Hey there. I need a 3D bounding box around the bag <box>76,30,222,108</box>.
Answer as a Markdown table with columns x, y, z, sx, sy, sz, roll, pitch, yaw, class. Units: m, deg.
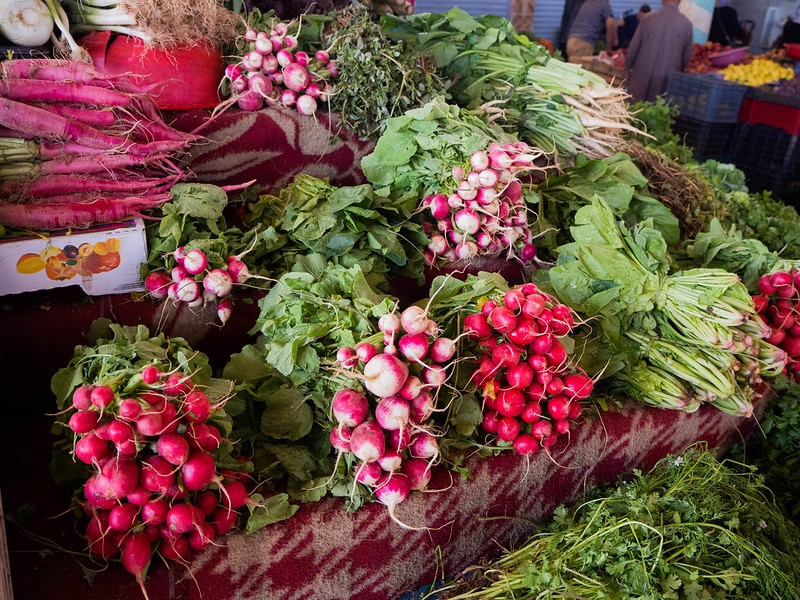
| x | y | z | sx | sy | sz | roll | pitch | yaw | class |
| --- | --- | --- | --- | --- | --- | --- | --- | --- | --- |
| -1.291 | -1.171 | 3.332 | 0.460 | 0.178 | 0.464 | 7 | 18 | 8 | bag |
